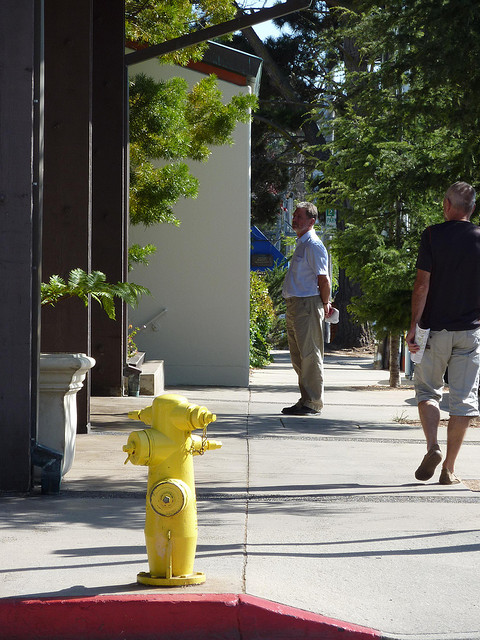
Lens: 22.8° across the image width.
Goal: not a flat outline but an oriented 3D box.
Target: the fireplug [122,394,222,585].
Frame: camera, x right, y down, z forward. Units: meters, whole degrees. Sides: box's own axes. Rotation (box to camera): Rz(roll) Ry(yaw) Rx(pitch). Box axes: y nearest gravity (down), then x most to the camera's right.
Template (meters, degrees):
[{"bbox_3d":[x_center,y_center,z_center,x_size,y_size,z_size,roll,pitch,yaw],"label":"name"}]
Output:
[{"bbox_3d":[-0.284,0.697,4.966,0.398,0.751,0.362,1,8,-9],"label":"fireplug"}]

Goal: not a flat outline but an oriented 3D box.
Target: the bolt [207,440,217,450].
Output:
[{"bbox_3d":[-0.117,0.532,5.077,0.036,0.058,0.066,0,3,-5],"label":"bolt"}]

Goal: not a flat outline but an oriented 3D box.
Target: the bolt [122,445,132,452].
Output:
[{"bbox_3d":[-0.463,0.530,4.924,0.034,0.030,0.032,1,-2,14],"label":"bolt"}]

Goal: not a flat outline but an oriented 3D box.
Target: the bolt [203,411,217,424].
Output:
[{"bbox_3d":[-0.124,0.398,4.929,0.057,0.046,0.047,1,-25,2],"label":"bolt"}]

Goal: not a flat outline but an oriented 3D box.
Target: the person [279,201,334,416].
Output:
[{"bbox_3d":[0.566,-0.066,9.943,0.334,1.775,0.511,-4,9,-36],"label":"person"}]
